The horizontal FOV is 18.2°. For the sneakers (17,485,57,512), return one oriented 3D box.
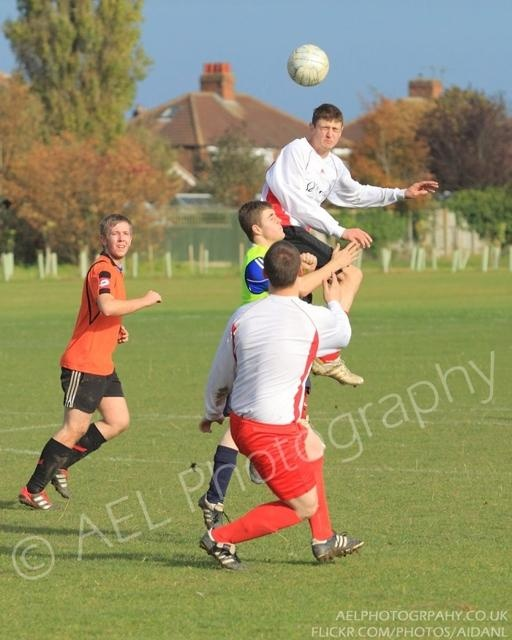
[{"bbox_3d":[-1.369,1.128,9.975,0.266,0.123,0.094,27,9,-35],"label":"sneakers"}]

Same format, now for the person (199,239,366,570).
[{"bbox_3d":[0.167,0.459,8.884,0.825,1.788,0.782,1,9,16],"label":"person"}]

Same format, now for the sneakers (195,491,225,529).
[{"bbox_3d":[-0.249,1.120,9.236,0.131,0.264,0.088,-24,-11,24],"label":"sneakers"}]

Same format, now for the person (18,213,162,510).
[{"bbox_3d":[-1.048,0.269,10.076,0.844,1.821,0.863,-2,9,-3],"label":"person"}]

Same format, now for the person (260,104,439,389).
[{"bbox_3d":[0.582,-0.461,10.616,1.160,1.776,0.580,5,-2,18],"label":"person"}]

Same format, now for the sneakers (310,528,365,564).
[{"bbox_3d":[0.437,1.268,8.932,0.342,0.172,0.126,-16,10,-17],"label":"sneakers"}]
